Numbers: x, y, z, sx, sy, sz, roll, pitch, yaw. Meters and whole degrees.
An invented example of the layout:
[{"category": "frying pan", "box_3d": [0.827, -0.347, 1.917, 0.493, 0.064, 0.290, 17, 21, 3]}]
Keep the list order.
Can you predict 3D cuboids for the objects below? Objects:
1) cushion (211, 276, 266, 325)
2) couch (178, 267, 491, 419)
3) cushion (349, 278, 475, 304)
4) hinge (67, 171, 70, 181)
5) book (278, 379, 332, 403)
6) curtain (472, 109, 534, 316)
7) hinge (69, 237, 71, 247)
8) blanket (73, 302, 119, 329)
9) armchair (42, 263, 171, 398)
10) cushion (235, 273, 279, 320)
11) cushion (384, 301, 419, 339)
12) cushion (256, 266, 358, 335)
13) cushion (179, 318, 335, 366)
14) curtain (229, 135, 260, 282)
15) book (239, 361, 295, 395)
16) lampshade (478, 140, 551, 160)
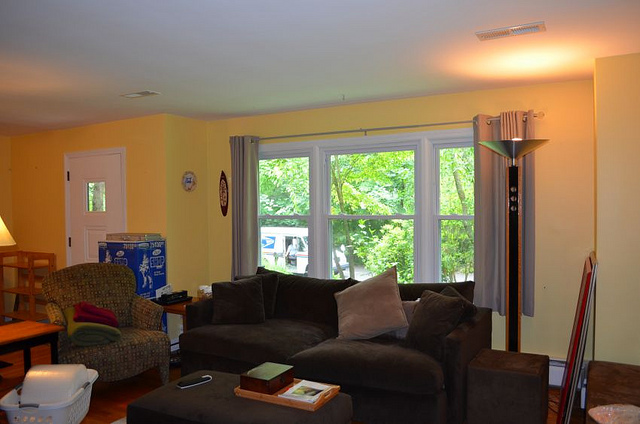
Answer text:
[{"category": "cushion", "box_3d": [-0.881, 0.984, 5.356, 0.502, 0.426, 0.169, -1, -34, -12]}, {"category": "couch", "box_3d": [0.195, 1.211, 4.871, 2.641, 1.223, 1.118, -1, 2, 28]}, {"category": "cushion", "box_3d": [1.134, 0.860, 5.141, 0.185, 0.285, 1.086, 13, -16, -35]}, {"category": "hinge", "box_3d": [-3.682, -0.532, 7.227, 0.042, 0.138, 0.010, -1, 3, 27]}, {"category": "book", "box_3d": [-0.117, 1.409, 3.881, 0.283, 0.068, 0.338, -1, 2, 35]}, {"category": "curtain", "box_3d": [1.956, 0.037, 5.231, 0.253, 2.120, 0.730, -6, 5, -14]}, {"category": "hinge", "box_3d": [-3.644, 0.432, 7.197, 0.023, 0.128, 0.013, -2, 3, 17]}, {"category": "blanket", "box_3d": [-2.319, 1.046, 5.069, 0.318, 0.086, 0.302, 5, 0, -9]}, {"category": "armchair", "box_3d": [-2.334, 1.194, 5.221, 1.238, 1.153, 1.082, 3, 6, 42]}, {"category": "cushion", "box_3d": [-0.602, 0.925, 5.442, 0.499, 0.462, 0.211, 1, -6, -4]}, {"category": "cushion", "box_3d": [0.844, 1.071, 4.916, 0.362, 0.341, 0.142, 8, -26, 41]}, {"category": "cushion", "box_3d": [-0.201, 0.987, 5.600, 1.291, 0.661, 0.356, 12, -3, -33]}, {"category": "cushion", "box_3d": [-0.696, 1.319, 5.499, 1.561, 0.335, 1.162, -10, -3, 38]}, {"category": "curtain", "box_3d": [-0.995, -0.091, 6.492, 0.386, 1.842, 0.218, -2, 3, 18]}, {"category": "book", "box_3d": [-0.434, 1.352, 4.014, 0.296, 0.122, 0.369, 2, 1, 30]}, {"category": "lampshade", "box_3d": [1.860, -0.610, 4.763, 0.586, 0.189, 0.156, -2, 2, 11]}]
